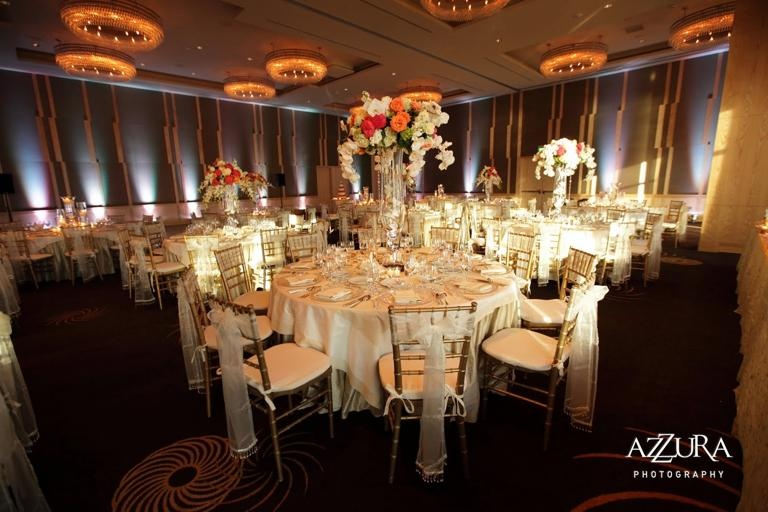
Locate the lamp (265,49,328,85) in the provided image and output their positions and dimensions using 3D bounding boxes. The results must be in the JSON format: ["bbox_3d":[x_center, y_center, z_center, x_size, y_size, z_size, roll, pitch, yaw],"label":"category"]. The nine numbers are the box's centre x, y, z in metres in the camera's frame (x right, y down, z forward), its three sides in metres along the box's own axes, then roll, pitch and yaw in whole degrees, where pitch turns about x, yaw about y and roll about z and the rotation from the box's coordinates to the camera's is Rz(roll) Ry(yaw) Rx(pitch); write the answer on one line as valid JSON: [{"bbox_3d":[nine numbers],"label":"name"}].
[{"bbox_3d":[-1.969,-4.161,10.405,1.426,0.389,1.434,-2,5,4],"label":"lamp"}]

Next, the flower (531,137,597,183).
[{"bbox_3d":[3.502,-1.778,8.492,0.773,0.624,0.847,0,9,32],"label":"flower"}]

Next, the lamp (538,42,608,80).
[{"bbox_3d":[4.416,-4.520,10.879,1.492,0.407,1.536,-1,7,26],"label":"lamp"}]

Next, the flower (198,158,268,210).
[{"bbox_3d":[-2.852,-1.292,8.653,1.034,0.861,0.896,-8,1,43],"label":"flower"}]

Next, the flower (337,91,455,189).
[{"bbox_3d":[0.152,-1.512,6.153,1.276,1.109,1.438,-8,23,-32],"label":"flower"}]

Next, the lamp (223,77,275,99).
[{"bbox_3d":[-3.357,-4.248,11.558,1.124,0.596,1.295,-6,11,-13],"label":"lamp"}]

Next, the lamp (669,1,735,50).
[{"bbox_3d":[6.205,-4.395,8.954,0.868,0.296,0.862,-6,10,-8],"label":"lamp"}]
